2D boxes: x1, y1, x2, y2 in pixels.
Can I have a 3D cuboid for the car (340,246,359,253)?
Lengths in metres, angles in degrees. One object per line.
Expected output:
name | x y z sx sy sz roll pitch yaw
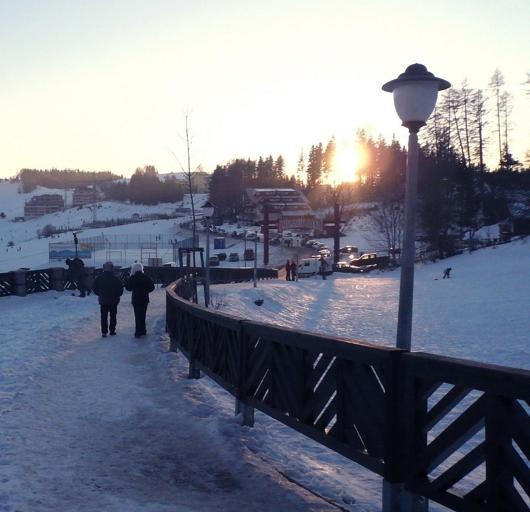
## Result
car | 7.607 -0.559 70.264 0.867 0.667 2.331 8 -4 29

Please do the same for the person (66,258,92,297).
person | -6.237 0.644 25.497 0.891 1.309 1.940 9 -3 -13

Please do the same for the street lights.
street lights | 1.658 -0.599 9.102 0.716 2.880 0.800 8 -2 5

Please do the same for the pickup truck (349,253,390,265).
pickup truck | 7.376 0.239 53.426 2.502 0.991 1.143 -1 2 -19

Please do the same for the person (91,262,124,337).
person | -3.249 0.835 15.925 0.554 1.682 0.541 1 17 -10

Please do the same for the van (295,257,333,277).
van | 3.174 0.669 48.647 2.549 1.529 1.097 -2 4 -20
